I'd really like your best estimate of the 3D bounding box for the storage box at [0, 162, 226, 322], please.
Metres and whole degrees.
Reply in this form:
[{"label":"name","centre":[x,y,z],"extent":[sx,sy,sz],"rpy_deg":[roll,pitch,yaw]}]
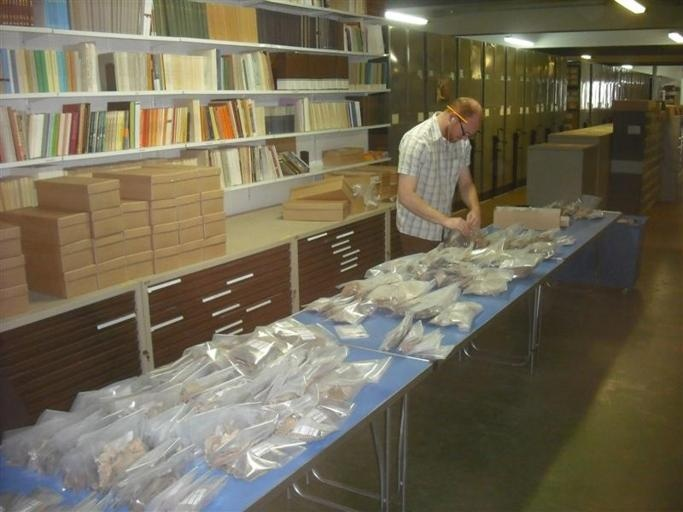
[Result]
[{"label":"storage box","centre":[-1.328,-0.197,2.896],"extent":[0.422,0.596,1.125],"rpy_deg":[14,23,37]}]
